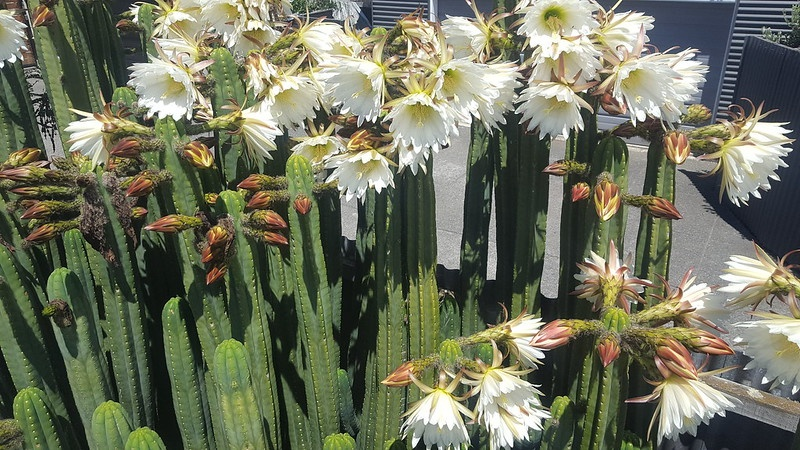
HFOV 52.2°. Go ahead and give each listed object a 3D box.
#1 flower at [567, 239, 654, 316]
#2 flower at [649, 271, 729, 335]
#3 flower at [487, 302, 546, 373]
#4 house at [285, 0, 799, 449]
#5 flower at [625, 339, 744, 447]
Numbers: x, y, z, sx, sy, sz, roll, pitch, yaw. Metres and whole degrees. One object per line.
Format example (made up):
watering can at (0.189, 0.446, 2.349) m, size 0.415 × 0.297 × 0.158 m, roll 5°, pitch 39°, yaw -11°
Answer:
flower at (0.791, 0.228, 3.061) m, size 0.285 × 0.159 × 0.304 m, roll 9°, pitch 13°, yaw -10°
flower at (1.048, 0.269, 3.034) m, size 0.250 × 0.175 × 0.192 m, roll -13°, pitch 13°, yaw -7°
flower at (0.451, 0.417, 3.094) m, size 0.239 × 0.192 × 0.182 m, roll 2°, pitch 11°, yaw 33°
house at (0.633, 0.002, 3.677) m, size 1.890 × 2.032 × 1.877 m, roll -5°, pitch 0°, yaw -37°
flower at (0.980, 0.597, 3.010) m, size 0.342 × 0.390 × 0.263 m, roll -5°, pitch -18°, yaw -37°
